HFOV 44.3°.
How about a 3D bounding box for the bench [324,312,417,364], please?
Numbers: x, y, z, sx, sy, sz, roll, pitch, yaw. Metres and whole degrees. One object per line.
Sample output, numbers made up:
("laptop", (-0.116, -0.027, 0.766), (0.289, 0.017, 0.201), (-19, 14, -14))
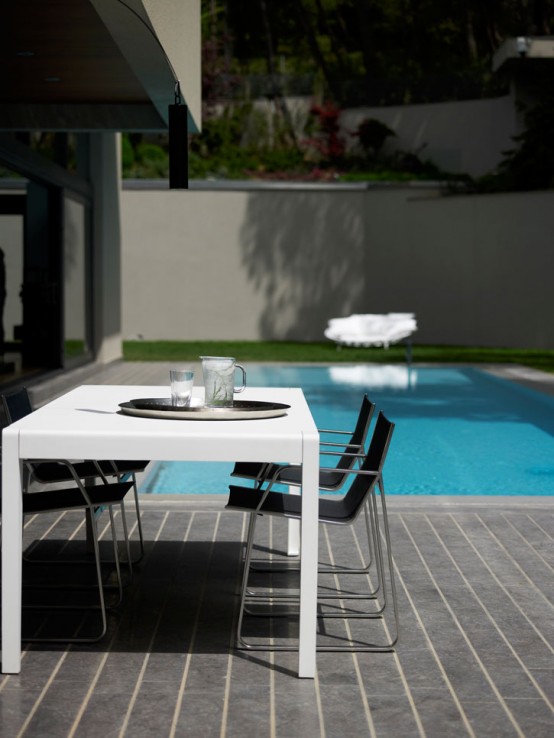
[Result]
("bench", (1.760, -0.719, 12.732), (1.218, 0.643, 1.855), (0, 1, -42))

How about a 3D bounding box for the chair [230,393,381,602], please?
("chair", (0.082, 0.445, 2.379), (0.544, 0.670, 0.400), (2, 2, 3))

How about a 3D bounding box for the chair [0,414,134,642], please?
("chair", (-0.732, 0.513, 2.290), (0.492, 0.853, 0.440), (1, 4, 4))

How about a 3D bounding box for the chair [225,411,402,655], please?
("chair", (0.108, 0.503, 2.237), (0.442, 0.593, 0.426), (-2, -1, 4))

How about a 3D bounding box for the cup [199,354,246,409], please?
("cup", (-0.137, 0.034, 2.030), (0.177, 0.191, 0.118), (0, 5, -1))
